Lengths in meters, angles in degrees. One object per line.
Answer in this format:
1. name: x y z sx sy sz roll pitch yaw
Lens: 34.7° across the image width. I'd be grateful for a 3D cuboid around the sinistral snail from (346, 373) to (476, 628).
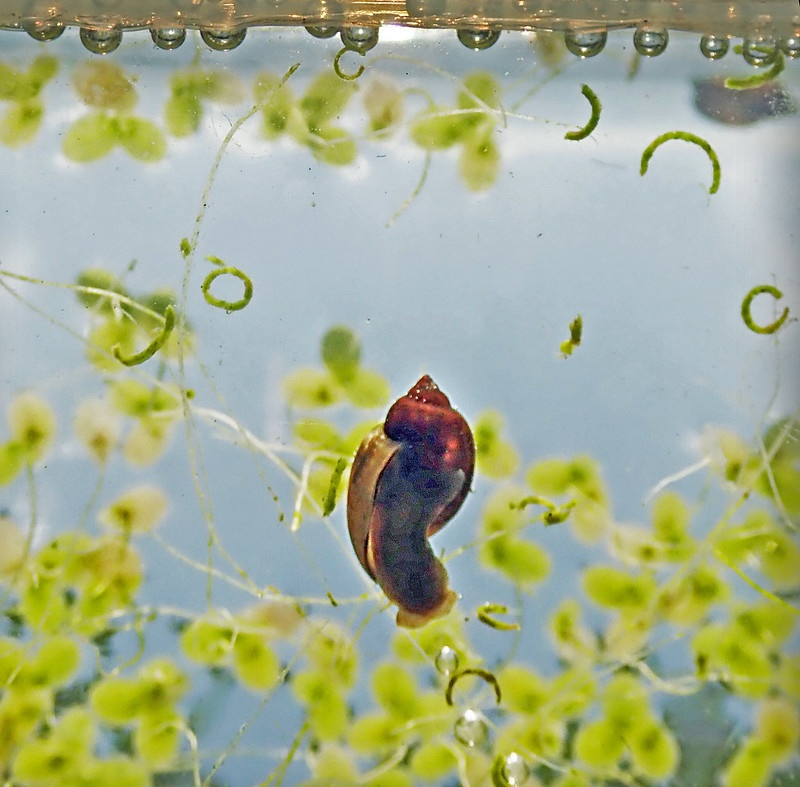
1. sinistral snail: 0.013 0.133 1.570 0.145 0.304 0.050 3 6 -4
